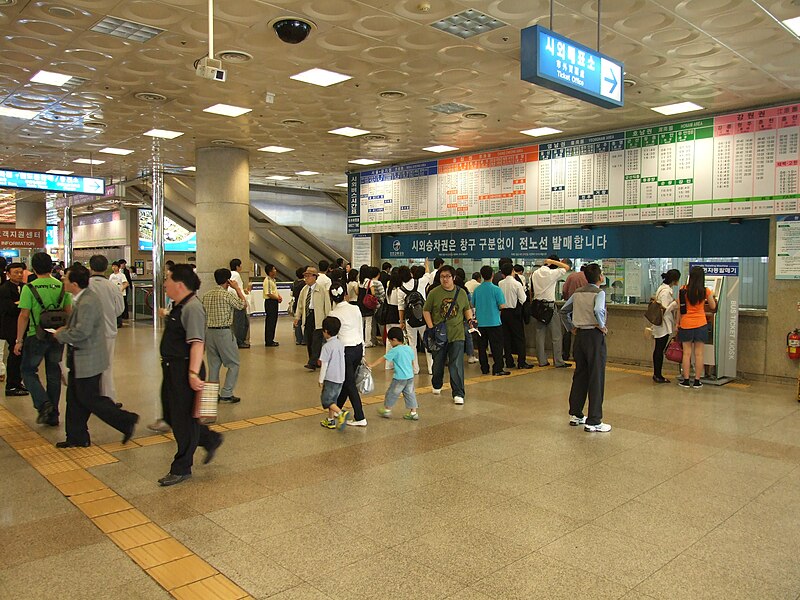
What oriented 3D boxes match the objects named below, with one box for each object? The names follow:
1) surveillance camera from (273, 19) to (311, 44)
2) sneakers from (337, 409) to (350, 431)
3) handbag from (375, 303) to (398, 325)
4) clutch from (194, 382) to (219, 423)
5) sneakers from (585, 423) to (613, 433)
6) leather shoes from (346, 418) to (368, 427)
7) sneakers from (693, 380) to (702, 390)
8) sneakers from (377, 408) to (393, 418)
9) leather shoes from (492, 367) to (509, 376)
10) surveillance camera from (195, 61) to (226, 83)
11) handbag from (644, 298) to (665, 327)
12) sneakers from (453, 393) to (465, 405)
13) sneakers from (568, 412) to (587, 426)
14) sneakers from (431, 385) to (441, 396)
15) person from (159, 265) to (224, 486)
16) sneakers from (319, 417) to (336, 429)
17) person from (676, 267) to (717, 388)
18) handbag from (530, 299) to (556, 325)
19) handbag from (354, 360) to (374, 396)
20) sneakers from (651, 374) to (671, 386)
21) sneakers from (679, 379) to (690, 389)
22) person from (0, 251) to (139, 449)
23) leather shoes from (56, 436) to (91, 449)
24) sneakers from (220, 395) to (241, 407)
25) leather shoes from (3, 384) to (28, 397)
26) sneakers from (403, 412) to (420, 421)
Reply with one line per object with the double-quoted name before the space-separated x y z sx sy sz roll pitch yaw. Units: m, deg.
"surveillance camera" -1.228 -3.033 6.583 0.433 0.309 0.447 -1 6 -9
"sneakers" -0.639 1.331 6.441 0.107 0.199 0.095 20 20 23
"handbag" -0.235 0.241 10.531 0.346 0.484 0.414 -11 12 -37
"clutch" -1.641 0.854 4.878 0.185 0.340 0.126 -2 7 -17
"sneakers" 2.191 1.404 6.427 0.316 0.111 0.102 -2 2 -7
"leather shoes" -0.492 1.376 6.574 0.221 0.072 0.082 2 3 26
"sneakers" 4.442 1.230 8.568 0.076 0.106 0.201 4 6 40
"sneakers" -0.172 1.335 6.875 0.089 0.097 0.164 0 9 -34
"leather shoes" 1.687 1.164 9.457 0.331 0.156 0.102 -5 5 -25
"surveillance camera" -1.813 -2.193 5.574 0.224 0.191 0.376 -1 6 -9
"handbag" 3.915 0.181 8.838 0.171 0.415 0.278 -3 7 -27
"sneakers" 0.767 1.287 7.557 0.152 0.084 0.222 0 -9 5
"sneakers" 2.028 1.364 6.602 0.094 0.083 0.215 3 5 43
"sneakers" 0.504 1.238 7.978 0.163 0.076 0.231 0 -6 -1
"person" -1.869 0.620 4.925 0.407 1.846 0.380 -2 7 -19
"sneakers" -0.815 1.375 6.501 0.202 0.077 0.089 4 3 32
"person" 4.384 0.393 8.552 0.455 1.790 0.740 7 9 44
"handbag" 2.515 0.189 10.131 0.299 0.431 0.525 5 -5 -42
"handbag" -0.399 0.881 6.560 0.172 0.366 0.296 1 6 2
"sneakers" 4.043 1.228 8.940 0.251 0.073 0.123 -2 2 -22
"sneakers" 4.287 1.232 8.675 0.084 0.103 0.174 0 8 -12
"person" -3.210 0.539 5.919 0.642 1.790 1.237 -5 8 -37
"leather shoes" -3.243 1.419 5.824 0.370 0.117 0.113 5 1 0
"sneakers" -2.239 1.317 7.578 0.286 0.097 0.094 1 -1 -19
"leather shoes" -5.205 1.233 7.821 0.369 0.125 0.124 0 0 -13
"sneakers" 0.142 1.341 6.859 0.171 0.108 0.182 0 6 0
